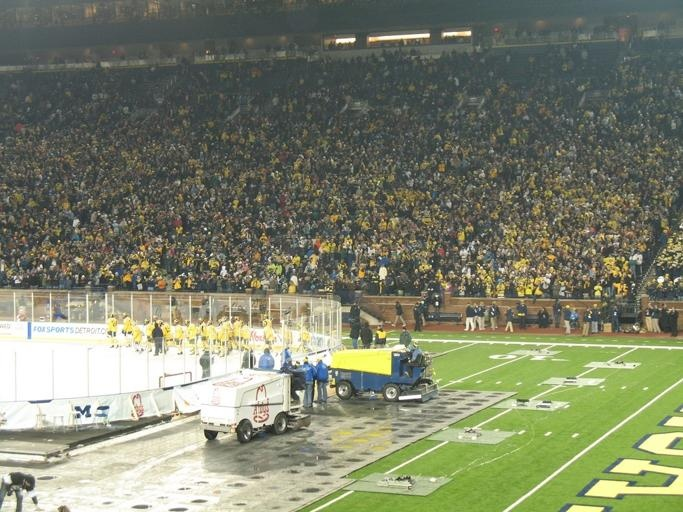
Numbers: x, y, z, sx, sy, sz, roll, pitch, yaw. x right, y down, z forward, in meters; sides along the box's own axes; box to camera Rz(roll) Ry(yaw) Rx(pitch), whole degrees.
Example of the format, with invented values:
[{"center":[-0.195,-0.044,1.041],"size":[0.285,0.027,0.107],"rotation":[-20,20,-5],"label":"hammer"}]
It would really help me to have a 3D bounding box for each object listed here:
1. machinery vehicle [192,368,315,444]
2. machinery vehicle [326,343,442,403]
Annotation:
[{"center":[-4.340,7.185,64.093],"size":[2.894,2.762,4.882],"rotation":[1,2,43],"label":"machinery vehicle"},{"center":[2.477,6.227,69.749],"size":[5.067,2.807,2.827],"rotation":[1,-1,22],"label":"machinery vehicle"}]
